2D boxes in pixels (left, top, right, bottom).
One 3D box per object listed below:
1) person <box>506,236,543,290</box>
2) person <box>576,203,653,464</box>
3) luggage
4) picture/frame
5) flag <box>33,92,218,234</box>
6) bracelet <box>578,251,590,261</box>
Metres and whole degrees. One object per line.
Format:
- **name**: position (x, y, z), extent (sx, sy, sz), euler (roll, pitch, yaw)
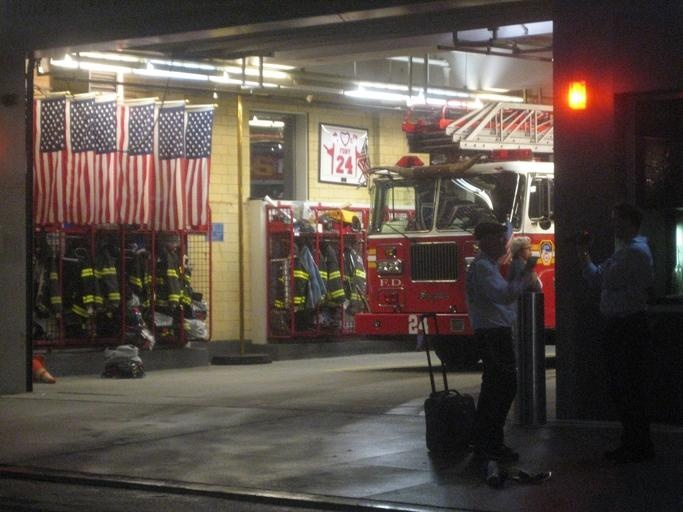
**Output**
- **person**: position (2.363, 0.089, 12.020), extent (0.470, 0.820, 0.478), euler (-2, 6, -43)
- **person**: position (2.898, 0.714, 9.526), extent (0.949, 2.568, 0.931), euler (0, -1, 7)
- **luggage**: position (1.089, 1.402, 9.915), extent (0.547, 1.557, 0.676), euler (2, 3, 12)
- **picture/frame**: position (0.024, -2.280, 21.146), extent (0.776, 1.664, 1.117), euler (2, 6, 42)
- **flag**: position (-3.936, -1.658, 16.601), extent (3.077, 2.029, 0.465), euler (-1, 0, -3)
- **bracelet**: position (2.606, 0.007, 9.945), extent (0.108, 0.111, 0.112), euler (-2, 2, 6)
